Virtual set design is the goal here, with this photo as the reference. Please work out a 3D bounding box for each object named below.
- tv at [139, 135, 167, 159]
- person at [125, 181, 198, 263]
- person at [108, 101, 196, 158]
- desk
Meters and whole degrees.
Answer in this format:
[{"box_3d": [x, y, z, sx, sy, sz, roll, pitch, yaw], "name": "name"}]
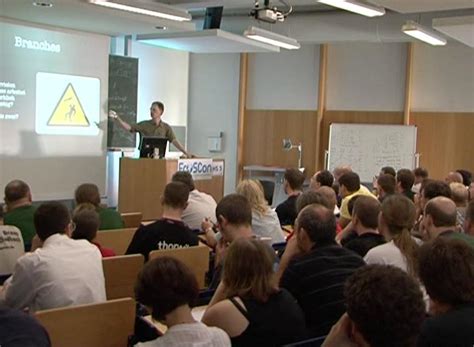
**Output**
[{"box_3d": [-1.517, -0.449, 6.868, 0.546, 0.576, 0.339, 0, 38, -16], "name": "tv"}, {"box_3d": [-0.770, 0.477, 3.950, 0.466, 0.751, 0.362, 13, 17, -27], "name": "person"}, {"box_3d": [-1.931, -0.985, 8.283, 1.449, 1.699, 0.476, 0, -13, -6], "name": "person"}, {"box_3d": [0.746, 0.544, 9.510, 1.056, 1.116, 0.812, 1, -26, 8], "name": "desk"}]
